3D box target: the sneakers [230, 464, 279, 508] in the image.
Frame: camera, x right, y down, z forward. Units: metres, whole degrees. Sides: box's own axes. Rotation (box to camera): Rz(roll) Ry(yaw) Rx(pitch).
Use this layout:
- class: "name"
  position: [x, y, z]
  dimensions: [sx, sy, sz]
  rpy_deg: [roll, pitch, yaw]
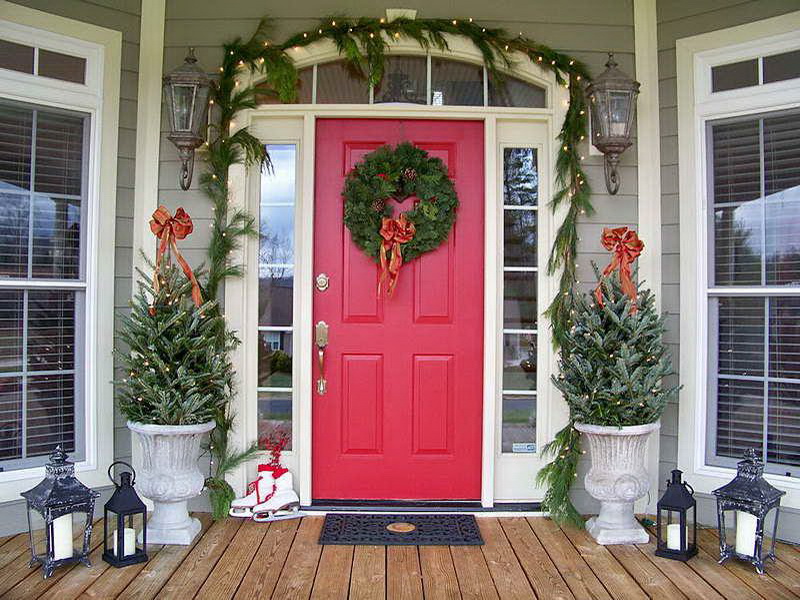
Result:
- class: "sneakers"
  position: [-0.929, 1.221, 4.355]
  dimensions: [0.356, 0.275, 0.131]
  rpy_deg: [1, -14, -28]

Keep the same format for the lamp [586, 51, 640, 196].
- class: "lamp"
  position: [1.380, -1.155, 4.325]
  dimensions: [0.299, 0.886, 0.305]
  rpy_deg: [-3, 4, -22]

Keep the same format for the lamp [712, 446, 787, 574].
- class: "lamp"
  position: [2.056, 1.198, 3.944]
  dimensions: [0.344, 0.704, 0.539]
  rpy_deg: [7, 13, 31]

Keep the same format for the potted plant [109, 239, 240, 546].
- class: "potted plant"
  position: [-1.396, 0.577, 4.201]
  dimensions: [0.704, 1.676, 0.778]
  rpy_deg: [-5, 12, -25]

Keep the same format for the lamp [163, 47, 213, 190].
- class: "lamp"
  position: [-1.387, -1.188, 4.339]
  dimensions: [0.287, 0.898, 0.301]
  rpy_deg: [11, 7, 43]

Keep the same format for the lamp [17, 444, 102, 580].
- class: "lamp"
  position: [-1.979, 1.158, 3.876]
  dimensions: [0.371, 0.677, 0.565]
  rpy_deg: [-6, 13, -32]

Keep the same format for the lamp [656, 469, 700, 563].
- class: "lamp"
  position: [1.715, 1.237, 4.080]
  dimensions: [0.237, 0.544, 0.580]
  rpy_deg: [6, 12, 25]

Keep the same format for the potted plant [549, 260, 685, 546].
- class: "potted plant"
  position: [1.385, 0.642, 4.203]
  dimensions: [0.708, 1.601, 0.664]
  rpy_deg: [1, -3, -24]
